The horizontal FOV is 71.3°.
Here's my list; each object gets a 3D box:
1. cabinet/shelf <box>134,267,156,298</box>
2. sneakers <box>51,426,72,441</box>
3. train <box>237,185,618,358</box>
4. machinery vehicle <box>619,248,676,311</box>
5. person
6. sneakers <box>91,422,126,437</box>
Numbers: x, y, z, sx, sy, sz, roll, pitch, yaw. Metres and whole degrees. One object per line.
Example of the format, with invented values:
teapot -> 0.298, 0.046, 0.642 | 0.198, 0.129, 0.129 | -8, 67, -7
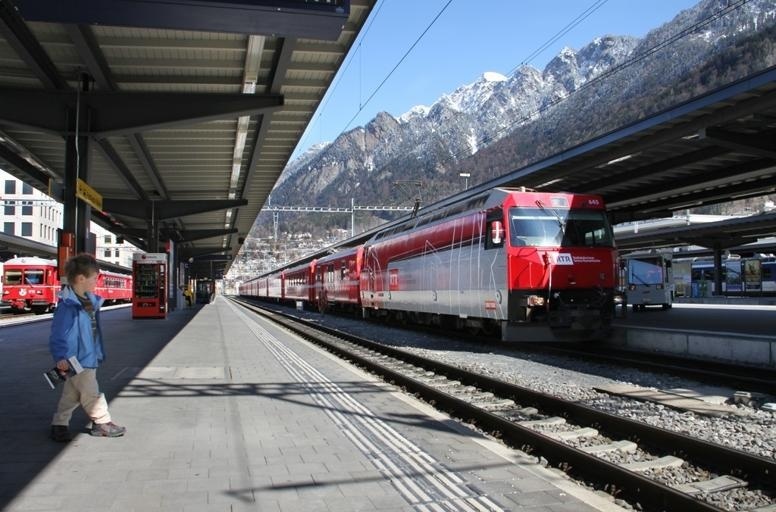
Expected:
cabinet/shelf -> -12.922, 1.390, 29.074 | 1.214, 1.611, 0.639 | 0, -4, -5
sneakers -> -4.219, 2.280, 7.024 | 0.135, 0.166, 0.395 | 6, -11, -40
train -> 0.626, 0.969, 28.123 | 4.168, 3.579, 28.841 | 2, -4, -20
machinery vehicle -> 14.567, 1.425, 30.554 | 2.088, 2.109, 4.524 | 0, -2, 21
person -> -3.894, 1.168, 7.035 | 0.658, 2.387, 0.674 | 0, -4, -6
sneakers -> -3.693, 2.285, 7.245 | 0.493, 0.199, 0.189 | 1, 0, -7
